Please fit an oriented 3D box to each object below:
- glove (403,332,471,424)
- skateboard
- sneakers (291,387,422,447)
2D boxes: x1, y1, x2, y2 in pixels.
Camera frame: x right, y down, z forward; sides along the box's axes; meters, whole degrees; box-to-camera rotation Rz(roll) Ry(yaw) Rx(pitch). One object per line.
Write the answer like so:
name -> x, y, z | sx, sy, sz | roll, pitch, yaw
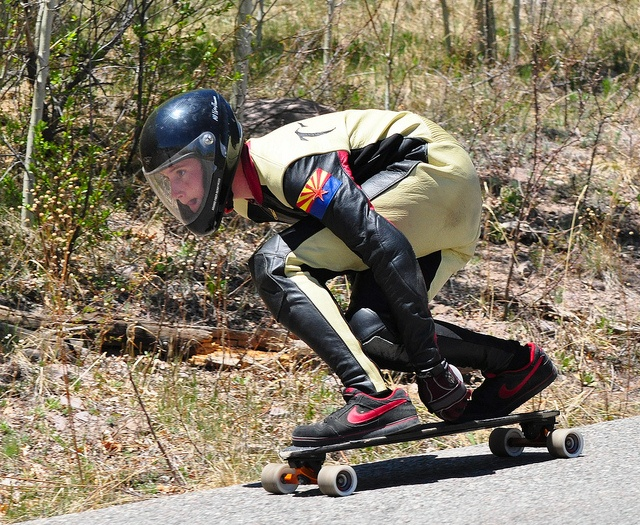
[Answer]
glove -> 0.543, 0.525, 3.126 | 0.159, 0.371, 0.275 | -40, 7, 6
skateboard -> 0.490, 0.811, 3.112 | 1.415, 0.192, 0.489 | -5, 0, -23
sneakers -> 0.146, 0.656, 2.989 | 0.606, 0.189, 0.189 | -14, -11, 20
